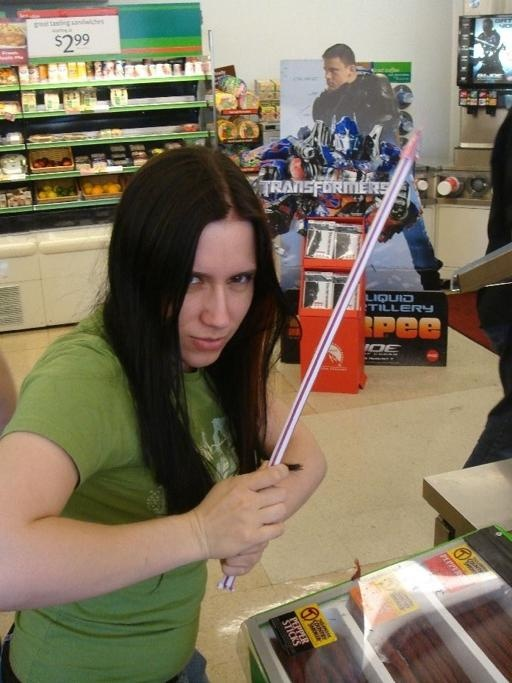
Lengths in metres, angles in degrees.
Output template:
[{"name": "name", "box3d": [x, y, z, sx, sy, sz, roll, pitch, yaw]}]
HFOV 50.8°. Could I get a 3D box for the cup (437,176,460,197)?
[{"name": "cup", "box3d": [2.041, -1.628, 5.717, 0.174, 0.219, 0.221, 12, 18, 24]}]
